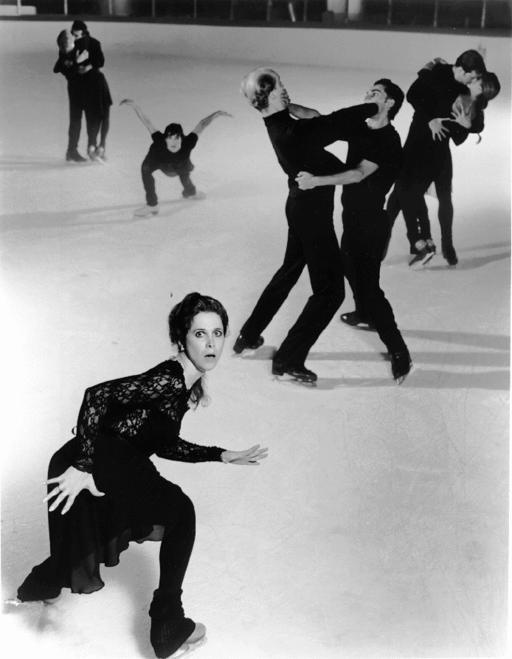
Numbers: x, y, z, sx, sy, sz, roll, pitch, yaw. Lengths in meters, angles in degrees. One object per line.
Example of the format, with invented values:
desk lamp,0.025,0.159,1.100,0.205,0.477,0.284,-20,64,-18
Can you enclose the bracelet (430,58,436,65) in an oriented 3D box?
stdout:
bracelet,0.644,-0.969,2.362,0.017,0.015,0.016,-7,24,-12

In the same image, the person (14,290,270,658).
person,-0.408,0.505,2.257,0.785,1.251,0.220,-2,5,-19

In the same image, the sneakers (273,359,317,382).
sneakers,0.139,0.150,2.379,0.178,0.073,0.062,8,1,2
